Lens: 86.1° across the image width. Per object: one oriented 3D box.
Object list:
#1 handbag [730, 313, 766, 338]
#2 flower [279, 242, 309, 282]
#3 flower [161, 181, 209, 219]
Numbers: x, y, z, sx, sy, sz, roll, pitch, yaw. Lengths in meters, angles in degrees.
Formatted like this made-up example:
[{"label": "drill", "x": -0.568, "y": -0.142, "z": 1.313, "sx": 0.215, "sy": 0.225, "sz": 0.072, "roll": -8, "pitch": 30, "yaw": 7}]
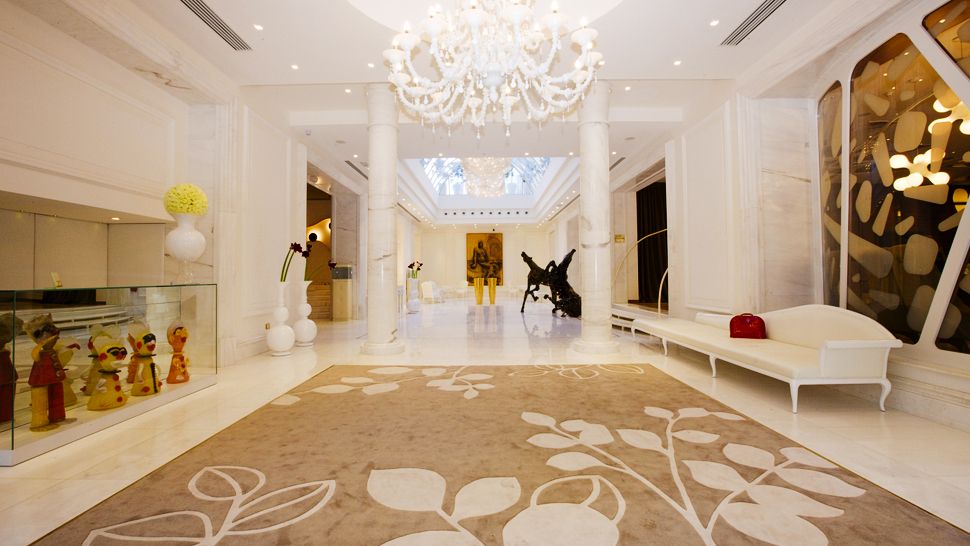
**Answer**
[{"label": "handbag", "x": 3.997, "y": 0.805, "z": 7.902, "sx": 0.366, "sy": 0.274, "sz": 0.141, "roll": 1, "pitch": 5, "yaw": 20}, {"label": "flower", "x": -3.588, "y": -0.212, "z": 9.898, "sx": 0.574, "sy": 0.752, "sz": 0.961, "roll": -4, "pitch": 10, "yaw": -20}, {"label": "flower", "x": -4.239, "y": -1.033, "z": 7.621, "sx": 0.585, "sy": 0.566, "sz": 0.600, "roll": 10, "pitch": 3, "yaw": 40}]
